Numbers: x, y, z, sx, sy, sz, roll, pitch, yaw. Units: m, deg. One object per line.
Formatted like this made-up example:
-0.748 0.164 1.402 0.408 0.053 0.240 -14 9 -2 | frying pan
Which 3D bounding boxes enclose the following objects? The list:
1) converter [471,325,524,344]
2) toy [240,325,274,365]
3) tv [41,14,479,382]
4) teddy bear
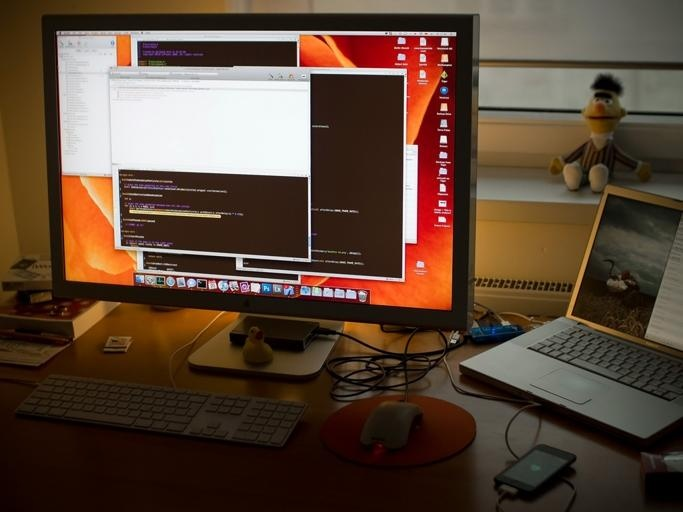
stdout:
0.315 0.154 1.164 0.093 0.027 0.045 -4 17 5 | converter
-0.154 0.162 1.090 0.052 0.061 0.068 -4 20 -6 | toy
-0.141 -0.120 1.027 0.647 0.473 0.188 3 13 9 | tv
0.647 -0.306 1.428 0.275 0.261 0.184 -16 25 -39 | teddy bear
